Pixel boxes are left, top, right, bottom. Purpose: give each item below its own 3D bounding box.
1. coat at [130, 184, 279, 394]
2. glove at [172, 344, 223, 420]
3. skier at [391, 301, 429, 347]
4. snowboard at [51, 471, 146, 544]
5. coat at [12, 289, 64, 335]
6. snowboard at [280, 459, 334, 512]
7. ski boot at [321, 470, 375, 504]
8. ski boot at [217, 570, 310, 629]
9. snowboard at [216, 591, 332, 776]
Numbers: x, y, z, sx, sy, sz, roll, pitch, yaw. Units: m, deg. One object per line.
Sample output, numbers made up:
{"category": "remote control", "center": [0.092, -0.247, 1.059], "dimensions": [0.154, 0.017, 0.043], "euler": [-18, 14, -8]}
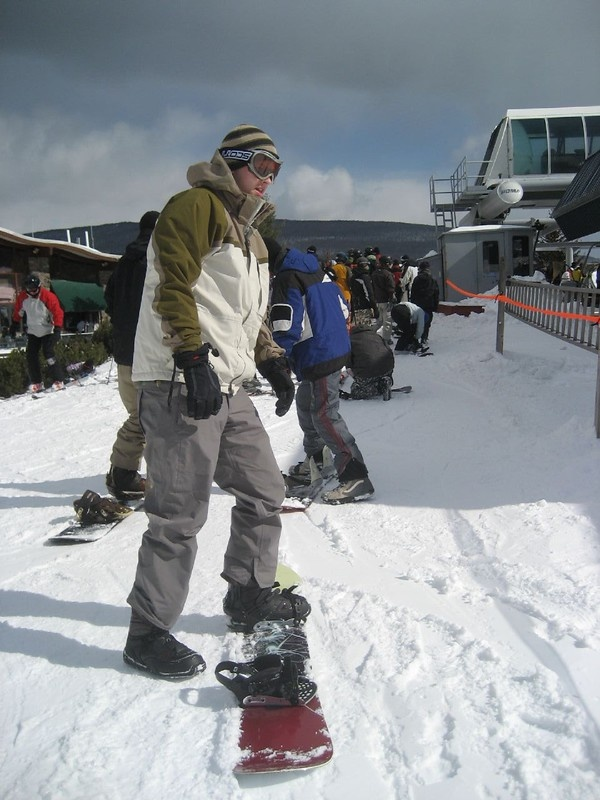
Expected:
{"category": "coat", "center": [-0.292, -0.373, 2.137], "dimensions": [0.330, 0.666, 0.646], "euler": [4, 11, 38]}
{"category": "glove", "center": [-0.320, -0.051, 1.916], "dimensions": [0.132, 0.242, 0.132], "euler": [-5, 9, -11]}
{"category": "skier", "center": [2.102, -1.462, 11.944], "dimensions": [0.729, 0.875, 0.633], "euler": [-5, 17, -43]}
{"category": "snowboard", "center": [-1.192, 0.678, 3.850], "dimensions": [0.232, 0.214, 0.749], "euler": [5, 20, 26]}
{"category": "coat", "center": [-4.011, -1.362, 9.425], "dimensions": [0.955, 0.753, 0.427], "euler": [8, 23, 14]}
{"category": "snowboard", "center": [0.049, 0.608, 4.345], "dimensions": [0.178, 0.222, 0.557], "euler": [-5, 10, 2]}
{"category": "ski boot", "center": [0.332, 0.626, 4.263], "dimensions": [0.424, 0.269, 0.146], "euler": [-1, -1, -5]}
{"category": "ski boot", "center": [-0.147, 0.773, 2.448], "dimensions": [0.367, 0.233, 0.158], "euler": [-8, 17, -7]}
{"category": "snowboard", "center": [-0.119, 0.931, 2.159], "dimensions": [0.320, 0.115, 1.069], "euler": [-5, 5, -4]}
